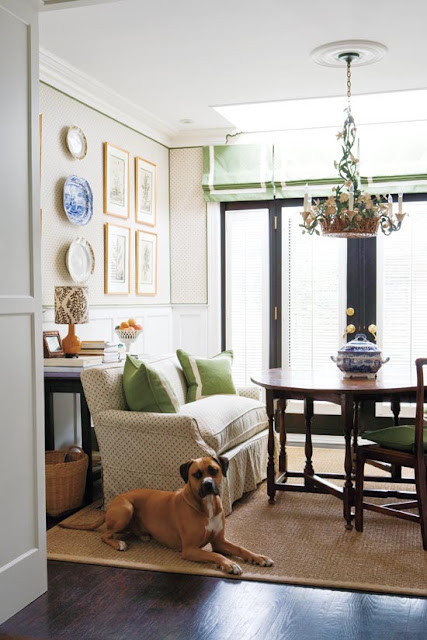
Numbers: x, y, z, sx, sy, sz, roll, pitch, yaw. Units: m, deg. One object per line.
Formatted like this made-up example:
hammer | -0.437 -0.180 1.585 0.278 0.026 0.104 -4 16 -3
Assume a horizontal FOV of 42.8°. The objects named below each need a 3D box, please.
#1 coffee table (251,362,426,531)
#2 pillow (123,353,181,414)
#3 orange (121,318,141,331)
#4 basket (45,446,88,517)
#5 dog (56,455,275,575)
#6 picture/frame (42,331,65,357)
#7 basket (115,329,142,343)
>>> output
coffee table | 0.613 0.603 3.041 0.836 0.534 0.864 -1 2 32
pillow | -0.355 0.358 2.866 0.232 0.347 0.404 -5 -4 -21
orange | -0.584 0.037 3.838 0.110 0.049 0.120 -1 1 13
basket | -0.794 0.863 2.922 0.278 0.329 0.338 -1 -4 8
dog | -0.261 0.775 2.367 0.949 0.439 0.308 1 -3 29
picture/frame | -0.957 0.149 3.220 0.075 0.144 0.149 -18 -1 11
basket | -0.595 0.113 3.738 0.159 0.095 0.095 1 -5 -12
